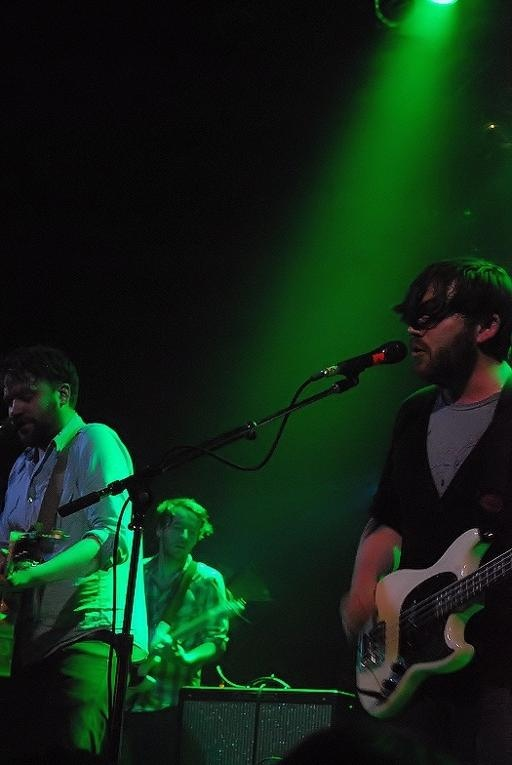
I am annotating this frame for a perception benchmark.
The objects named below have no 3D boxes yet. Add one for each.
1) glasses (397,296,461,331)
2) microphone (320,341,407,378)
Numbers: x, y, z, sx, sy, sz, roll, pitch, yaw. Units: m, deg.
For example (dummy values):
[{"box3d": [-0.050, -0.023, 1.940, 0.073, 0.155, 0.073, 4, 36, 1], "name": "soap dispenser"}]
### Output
[{"box3d": [0.615, -0.244, 2.648, 0.138, 0.107, 0.062, -30, -46, -7], "name": "glasses"}, {"box3d": [0.400, -0.080, 2.651, 0.273, 0.085, 0.071, -18, 11, -10], "name": "microphone"}]
